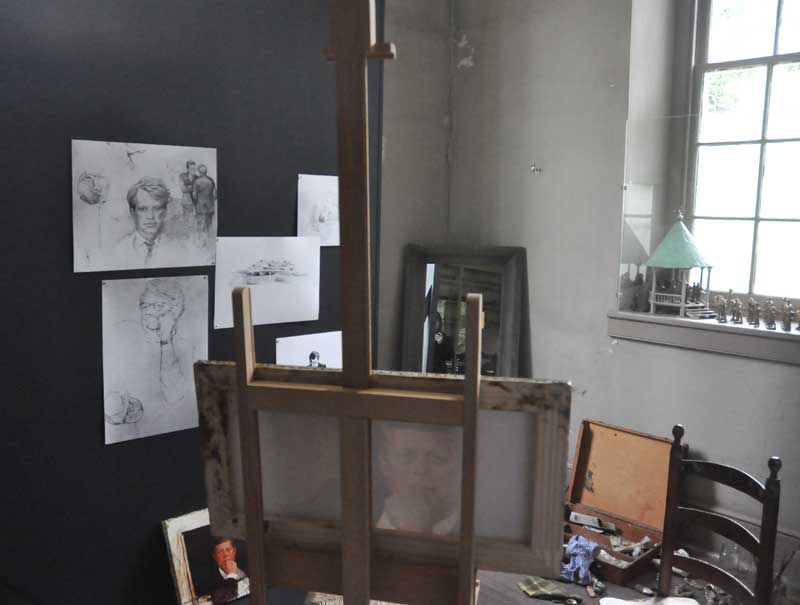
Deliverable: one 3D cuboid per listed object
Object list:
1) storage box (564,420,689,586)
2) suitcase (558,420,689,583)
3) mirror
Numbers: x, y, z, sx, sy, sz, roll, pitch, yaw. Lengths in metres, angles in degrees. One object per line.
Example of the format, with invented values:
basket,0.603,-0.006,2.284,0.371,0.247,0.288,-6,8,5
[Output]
storage box,0.782,0.651,2.554,0.398,0.483,0.441,4,6,37
suitcase,0.778,0.644,2.394,0.500,0.425,0.505,17,-7,-32
mirror,0.251,0.021,2.619,0.403,0.551,0.051,2,6,17
